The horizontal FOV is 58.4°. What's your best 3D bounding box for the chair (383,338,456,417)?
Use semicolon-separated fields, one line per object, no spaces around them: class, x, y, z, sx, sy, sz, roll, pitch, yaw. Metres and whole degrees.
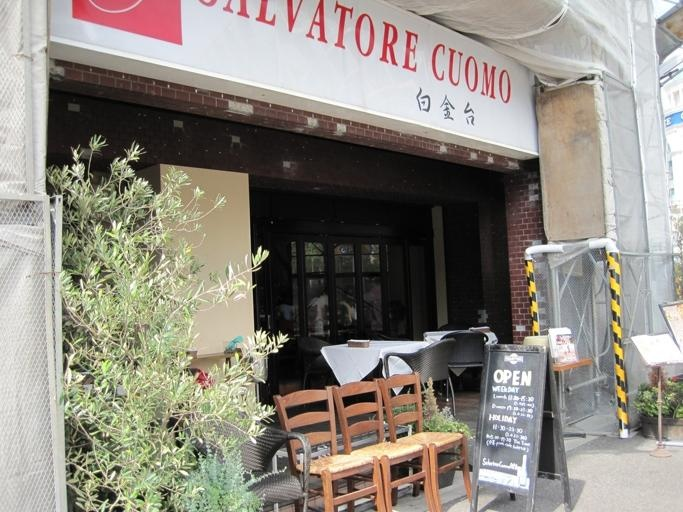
chair;0.926;1.383;7.165;0.802;1.014;0.680;-10;12;-41

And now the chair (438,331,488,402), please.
chair;1.692;1.460;8.349;0.714;1.075;0.741;0;6;3

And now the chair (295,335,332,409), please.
chair;-0.460;1.708;9.170;0.692;1.123;0.902;-2;-5;18

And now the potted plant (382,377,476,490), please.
potted plant;0.689;1.619;5.264;0.666;1.190;0.632;-9;-7;16
